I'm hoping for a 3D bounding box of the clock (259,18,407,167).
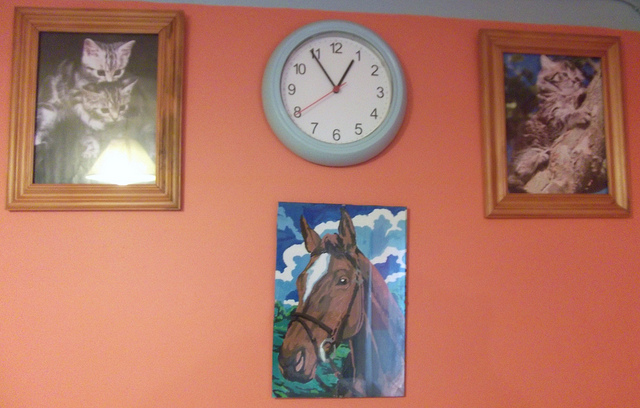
[{"bbox_3d":[0.073,-0.531,3.868,0.687,0.712,0.702,4,-18,-8],"label":"clock"}]
